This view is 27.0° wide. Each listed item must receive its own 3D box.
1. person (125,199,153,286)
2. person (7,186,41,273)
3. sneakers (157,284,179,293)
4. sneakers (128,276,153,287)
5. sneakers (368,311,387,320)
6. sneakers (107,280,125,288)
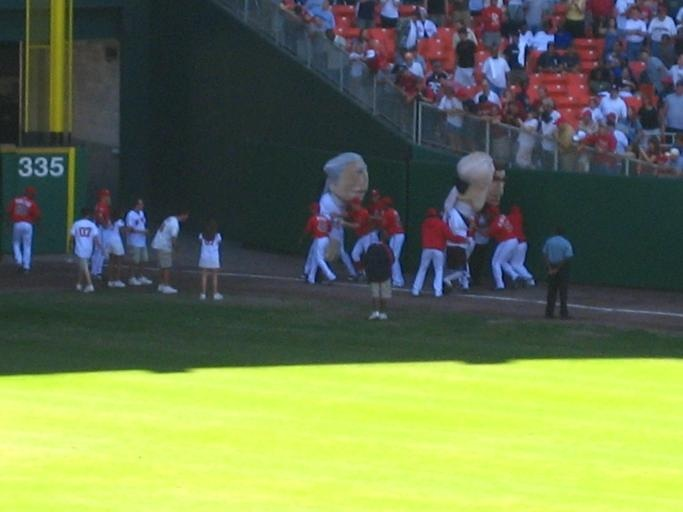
[{"bbox_3d":[-4.514,-0.297,31.848,0.603,1.888,1.258,2,3,-3],"label":"person"},{"bbox_3d":[-7.409,-0.631,33.284,0.690,1.949,0.645,2,3,-13],"label":"person"},{"bbox_3d":[-3.755,0.712,30.864,0.449,0.184,0.172,3,19,-8],"label":"sneakers"},{"bbox_3d":[-4.483,0.565,31.886,0.539,0.203,0.190,0,22,-17],"label":"sneakers"},{"bbox_3d":[0.717,1.184,28.812,0.156,0.156,0.356,-4,12,-14],"label":"sneakers"},{"bbox_3d":[-4.975,0.621,31.545,0.413,0.168,0.145,1,4,3],"label":"sneakers"}]
